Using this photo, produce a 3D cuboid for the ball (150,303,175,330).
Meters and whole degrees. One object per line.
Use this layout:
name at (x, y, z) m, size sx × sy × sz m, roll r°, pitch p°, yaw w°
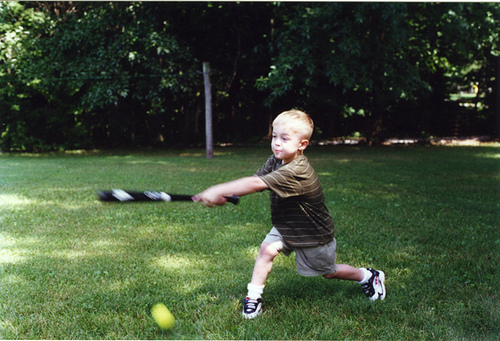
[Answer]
ball at (-0.859, 1.405, 4.594) m, size 0.267 × 0.134 × 0.135 m, roll 31°, pitch -17°, yaw 37°
